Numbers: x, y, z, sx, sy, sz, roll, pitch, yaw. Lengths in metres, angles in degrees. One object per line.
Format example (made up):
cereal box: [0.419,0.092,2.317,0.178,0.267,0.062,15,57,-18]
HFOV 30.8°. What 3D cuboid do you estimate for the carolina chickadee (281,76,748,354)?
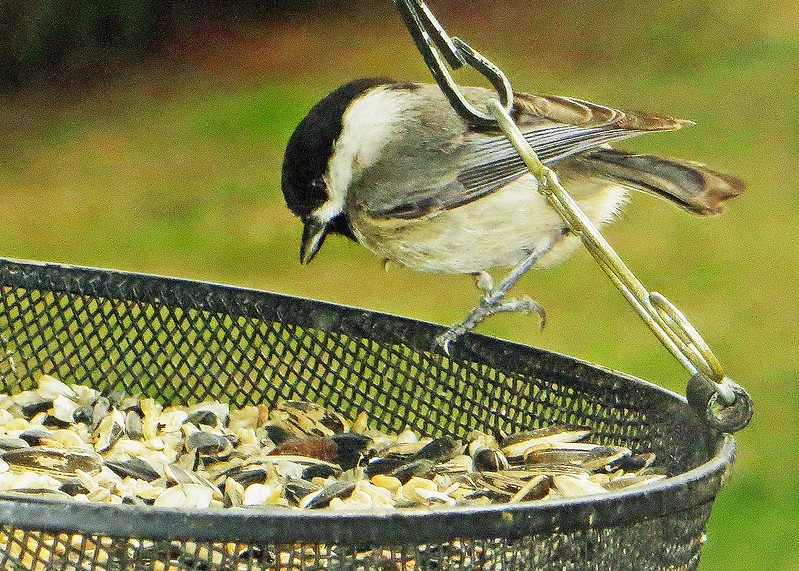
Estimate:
carolina chickadee: [0.149,-0.124,2.065,0.644,0.421,0.272,-14,-2,6]
